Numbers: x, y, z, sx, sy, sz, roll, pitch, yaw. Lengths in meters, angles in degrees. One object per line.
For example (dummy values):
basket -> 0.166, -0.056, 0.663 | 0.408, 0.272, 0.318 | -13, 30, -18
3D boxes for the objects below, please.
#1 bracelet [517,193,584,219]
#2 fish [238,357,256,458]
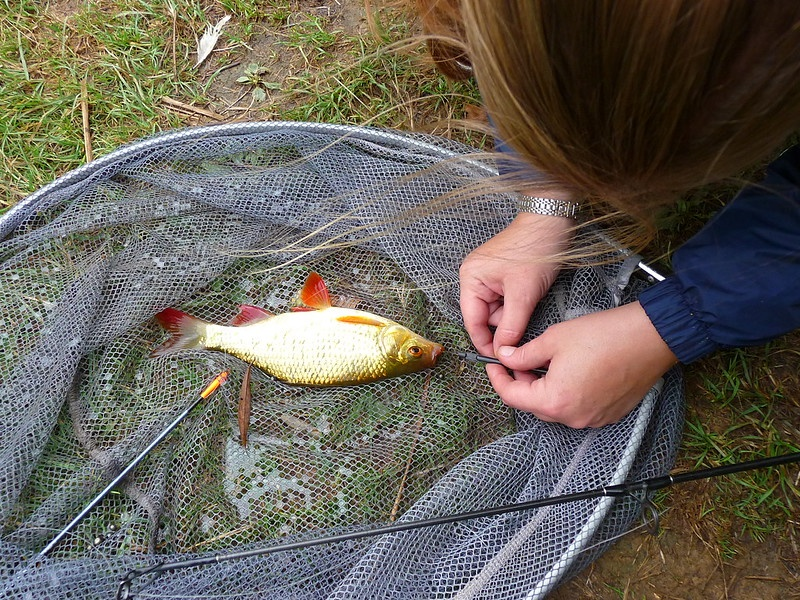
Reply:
bracelet -> 0.348, -0.223, 1.627 | 0.113, 0.062, 0.113 | 5, 7, 17
fish -> -0.393, 0.254, 1.707 | 0.051, 0.035, 0.333 | 22, 20, -19
